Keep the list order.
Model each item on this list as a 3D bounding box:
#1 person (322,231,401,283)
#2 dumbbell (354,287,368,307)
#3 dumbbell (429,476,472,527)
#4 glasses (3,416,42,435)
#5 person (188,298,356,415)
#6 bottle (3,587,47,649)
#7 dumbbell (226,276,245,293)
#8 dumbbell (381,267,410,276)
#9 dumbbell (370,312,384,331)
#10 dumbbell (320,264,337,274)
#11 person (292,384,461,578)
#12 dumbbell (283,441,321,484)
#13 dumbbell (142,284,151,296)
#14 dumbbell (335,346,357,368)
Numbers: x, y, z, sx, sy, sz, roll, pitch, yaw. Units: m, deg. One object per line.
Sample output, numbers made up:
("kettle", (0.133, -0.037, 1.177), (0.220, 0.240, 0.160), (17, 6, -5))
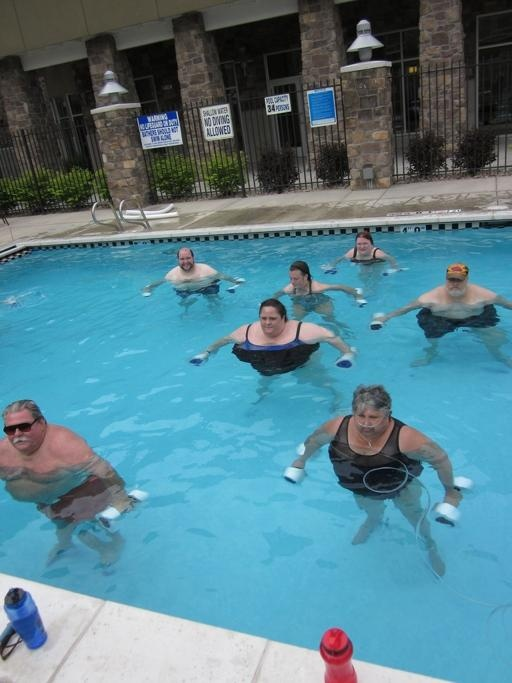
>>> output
("person", (1.780, -1.404, 8.067), (1.093, 0.860, 0.946), (1, 16, 8))
("dumbbell", (1.526, -0.639, 6.960), (0.173, 0.124, 0.306), (-45, 26, 26))
("dumbbell", (1.177, 1.011, 3.053), (0.312, 0.292, 0.259), (9, 19, 10))
("glasses", (-1.605, 0.587, 3.352), (0.154, 0.048, 0.154), (-16, 12, 5))
("person", (0.233, 0.233, 5.311), (1.812, 1.304, 0.664), (-1, 27, 16))
("bottle", (-1.027, 1.247, 2.149), (0.168, 0.245, 0.166), (-7, 18, 2))
("dumbbell", (-0.343, -0.951, 7.902), (0.312, 0.222, 0.512), (-10, 21, -2))
("dumbbell", (2.182, -1.112, 7.581), (0.274, 0.069, 0.068), (-22, 15, 3))
("dumbbell", (1.432, -0.230, 5.679), (0.156, 0.129, 0.237), (-1, 38, 8))
("dumbbell", (1.229, -1.204, 8.027), (0.203, 0.047, 0.197), (12, 35, 25))
("person", (0.832, 0.783, 3.310), (0.991, 1.036, 0.905), (8, 14, 10))
("dumbbell", (0.370, 0.953, 3.745), (0.217, 0.262, 0.656), (2, -19, 11))
("dumbbell", (-1.785, -0.831, 7.907), (0.098, 0.093, 0.275), (-3, 15, 0))
("dumbbell", (0.905, 0.202, 4.816), (0.172, 0.198, 0.279), (-4, 22, 14))
